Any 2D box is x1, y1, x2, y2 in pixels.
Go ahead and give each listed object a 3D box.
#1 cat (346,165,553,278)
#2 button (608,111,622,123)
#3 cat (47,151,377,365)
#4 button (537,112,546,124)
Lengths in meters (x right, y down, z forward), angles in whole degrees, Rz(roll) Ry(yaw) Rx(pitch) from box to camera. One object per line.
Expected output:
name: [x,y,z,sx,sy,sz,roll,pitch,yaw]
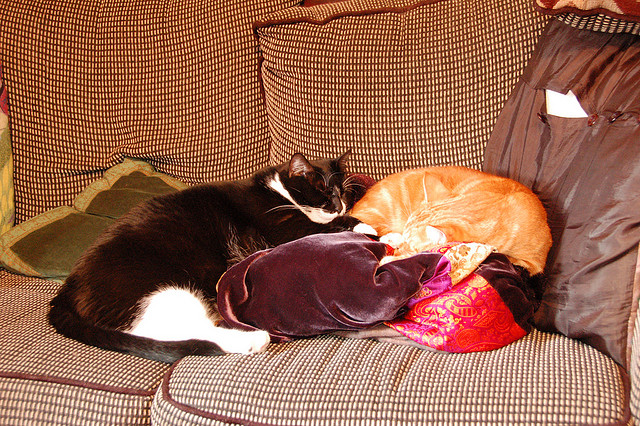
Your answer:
cat: [0.424,-0.002,1.961,0.445,0.146,0.358,-24,31,-9]
button: [0.861,-0.281,1.783,0.014,0.014,0.050,42,77,10]
cat: [-0.285,0.127,1.972,0.929,0.303,0.644,-19,41,-11]
button: [0.706,-0.301,1.942,0.010,0.012,0.038,-34,41,15]
